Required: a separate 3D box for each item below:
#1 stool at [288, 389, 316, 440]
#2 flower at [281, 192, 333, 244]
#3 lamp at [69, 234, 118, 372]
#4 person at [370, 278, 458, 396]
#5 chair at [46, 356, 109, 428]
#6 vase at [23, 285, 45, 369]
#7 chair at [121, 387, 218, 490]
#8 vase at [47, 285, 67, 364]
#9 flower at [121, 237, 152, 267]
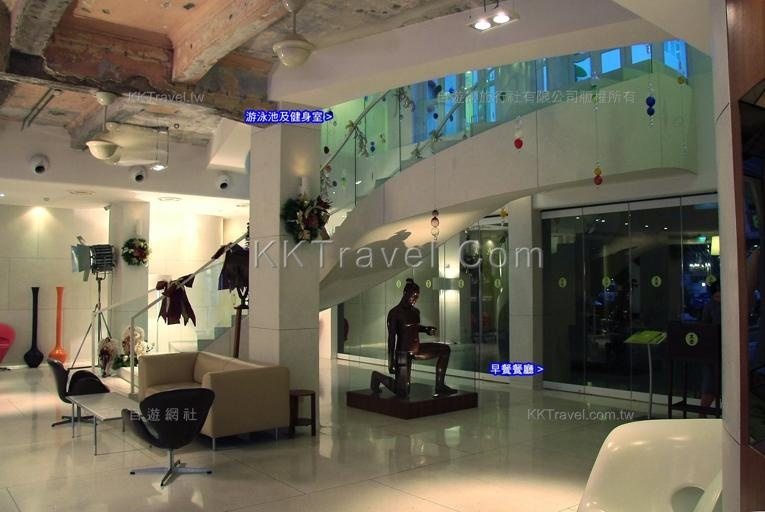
[{"bbox_3d":[-1.178,2.202,8.349,0.524,0.634,0.547,1,2,-5],"label":"stool"},{"bbox_3d":[-1.138,-0.570,8.651,0.643,0.717,0.342,-6,6,-25],"label":"flower"},{"bbox_3d":[-6.716,1.080,13.669,1.219,3.071,1.477,5,-2,-36],"label":"lamp"},{"bbox_3d":[0.482,1.354,9.873,0.944,1.870,1.094,-1,2,-41],"label":"person"},{"bbox_3d":[-4.598,2.018,8.891,0.873,0.952,0.796,-3,-8,-30],"label":"chair"},{"bbox_3d":[-8.610,1.719,14.408,0.409,1.968,0.371,-1,2,-45],"label":"vase"},{"bbox_3d":[-2.498,2.031,6.928,1.022,1.104,1.013,1,-1,29],"label":"chair"},{"bbox_3d":[-8.168,1.711,14.669,0.381,1.920,0.663,0,1,-28],"label":"vase"},{"bbox_3d":[-5.735,-0.125,13.580,0.583,0.627,0.247,-1,-1,-13],"label":"flower"}]
